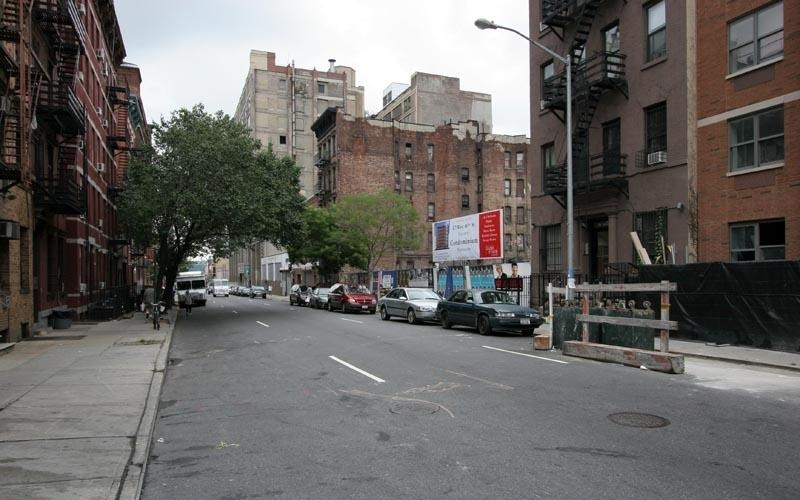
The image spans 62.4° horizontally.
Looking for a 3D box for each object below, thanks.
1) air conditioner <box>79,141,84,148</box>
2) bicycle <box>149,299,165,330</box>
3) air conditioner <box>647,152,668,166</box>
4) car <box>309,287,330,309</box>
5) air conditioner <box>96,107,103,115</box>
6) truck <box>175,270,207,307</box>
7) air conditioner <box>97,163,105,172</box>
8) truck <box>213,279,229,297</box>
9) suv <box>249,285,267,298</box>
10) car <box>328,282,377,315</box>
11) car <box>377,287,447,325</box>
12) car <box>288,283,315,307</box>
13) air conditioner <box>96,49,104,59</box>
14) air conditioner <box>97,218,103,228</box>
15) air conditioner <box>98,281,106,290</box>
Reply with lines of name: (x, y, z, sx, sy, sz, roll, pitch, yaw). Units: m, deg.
air conditioner: (-16.521, -5.462, 34.091, 0.202, 0.412, 1.121, -5, 11, -24)
bicycle: (-12.306, 3.272, 33.172, 0.771, 1.093, 1.801, 1, -15, -16)
air conditioner: (11.372, -3.963, 29.037, 0.484, 0.703, 0.961, 3, -3, -21)
car: (-5.550, 3.392, 46.582, 0.910, 0.899, 1.912, 2, -9, -21)
air conditioner: (-18.703, -8.634, 40.863, 0.150, 0.479, 2.680, -4, 11, -19)
truck: (-16.886, 3.002, 54.463, 2.738, 3.195, 5.237, 3, -13, -23)
air conditioner: (-18.082, -4.974, 39.752, 0.365, 0.508, 0.719, -2, -5, -5)
truck: (-24.641, 5.182, 90.690, 1.800, 1.975, 3.105, 2, -3, -18)
suv: (-18.046, 5.329, 83.700, 1.243, 1.039, 2.693, 2, -8, -23)
car: (-3.216, 2.971, 41.278, 1.478, 1.175, 3.428, 3, -10, -22)
car: (0.523, 2.767, 32.764, 1.363, 1.062, 3.145, 3, -11, -22)
car: (-8.022, 3.705, 54.548, 1.481, 1.376, 2.661, 2, -10, -25)
air conditioner: (-18.577, -12.091, 40.599, 0.237, 0.583, 1.716, -4, 11, -19)
air conditioner: (-18.498, -1.693, 40.591, 0.422, 0.635, 0.435, 0, 1, -27)
air conditioner: (-18.192, 2.149, 40.069, 0.345, 0.678, 0.356, -13, -12, 20)
